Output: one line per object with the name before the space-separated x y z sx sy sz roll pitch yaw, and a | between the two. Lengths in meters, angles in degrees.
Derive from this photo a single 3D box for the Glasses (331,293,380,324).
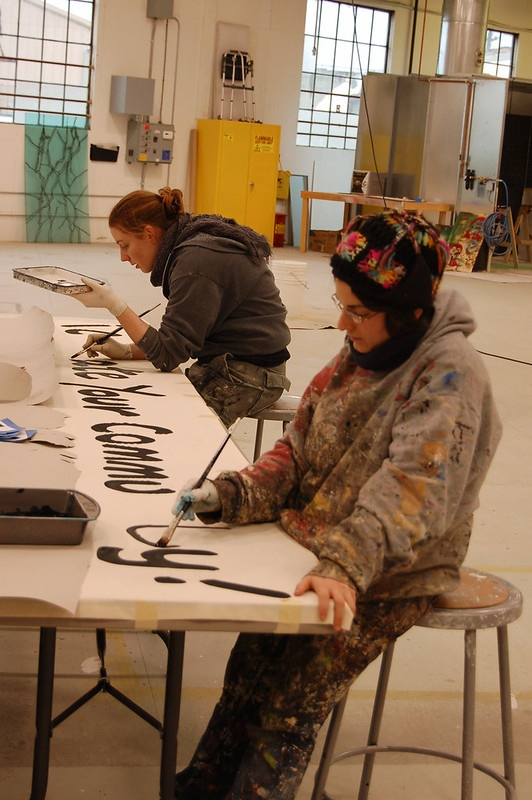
Glasses | 0.143 -0.138 1.030 0.061 0.017 0.056 -5 34 -31

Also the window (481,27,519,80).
window | 4.634 -6.872 12.973 0.815 0.792 0.175 -1 14 -26

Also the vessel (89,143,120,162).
vessel | -2.427 -3.677 9.682 0.321 0.181 0.305 1 13 -9

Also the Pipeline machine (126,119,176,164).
Pipeline machine | -1.770 -3.901 9.938 0.679 0.613 0.309 1 13 -18

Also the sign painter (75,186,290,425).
sign painter | -0.266 -0.183 2.425 0.838 1.167 0.502 -7 21 -8

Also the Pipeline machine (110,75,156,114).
Pipeline machine | -1.963 -4.438 9.506 0.574 0.572 0.324 12 -5 -28
